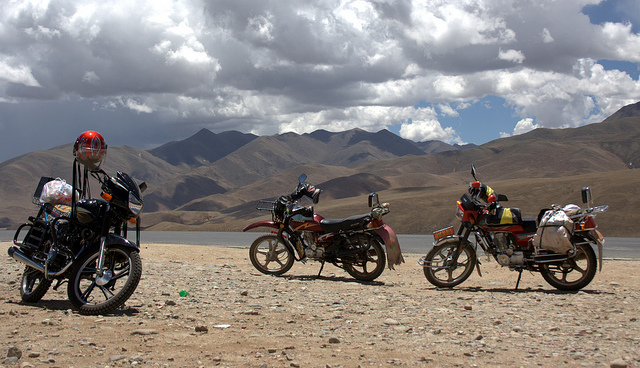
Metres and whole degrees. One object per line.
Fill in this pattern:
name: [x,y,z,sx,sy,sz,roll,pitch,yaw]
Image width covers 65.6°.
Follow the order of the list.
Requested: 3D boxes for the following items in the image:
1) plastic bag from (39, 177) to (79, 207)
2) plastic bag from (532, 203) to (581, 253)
plastic bag: [-6.030,0.212,11.416,0.738,0.530,0.692,-43,-41,12]
plastic bag: [6.345,1.137,13.345,0.687,1.370,1.366,9,-3,-19]
